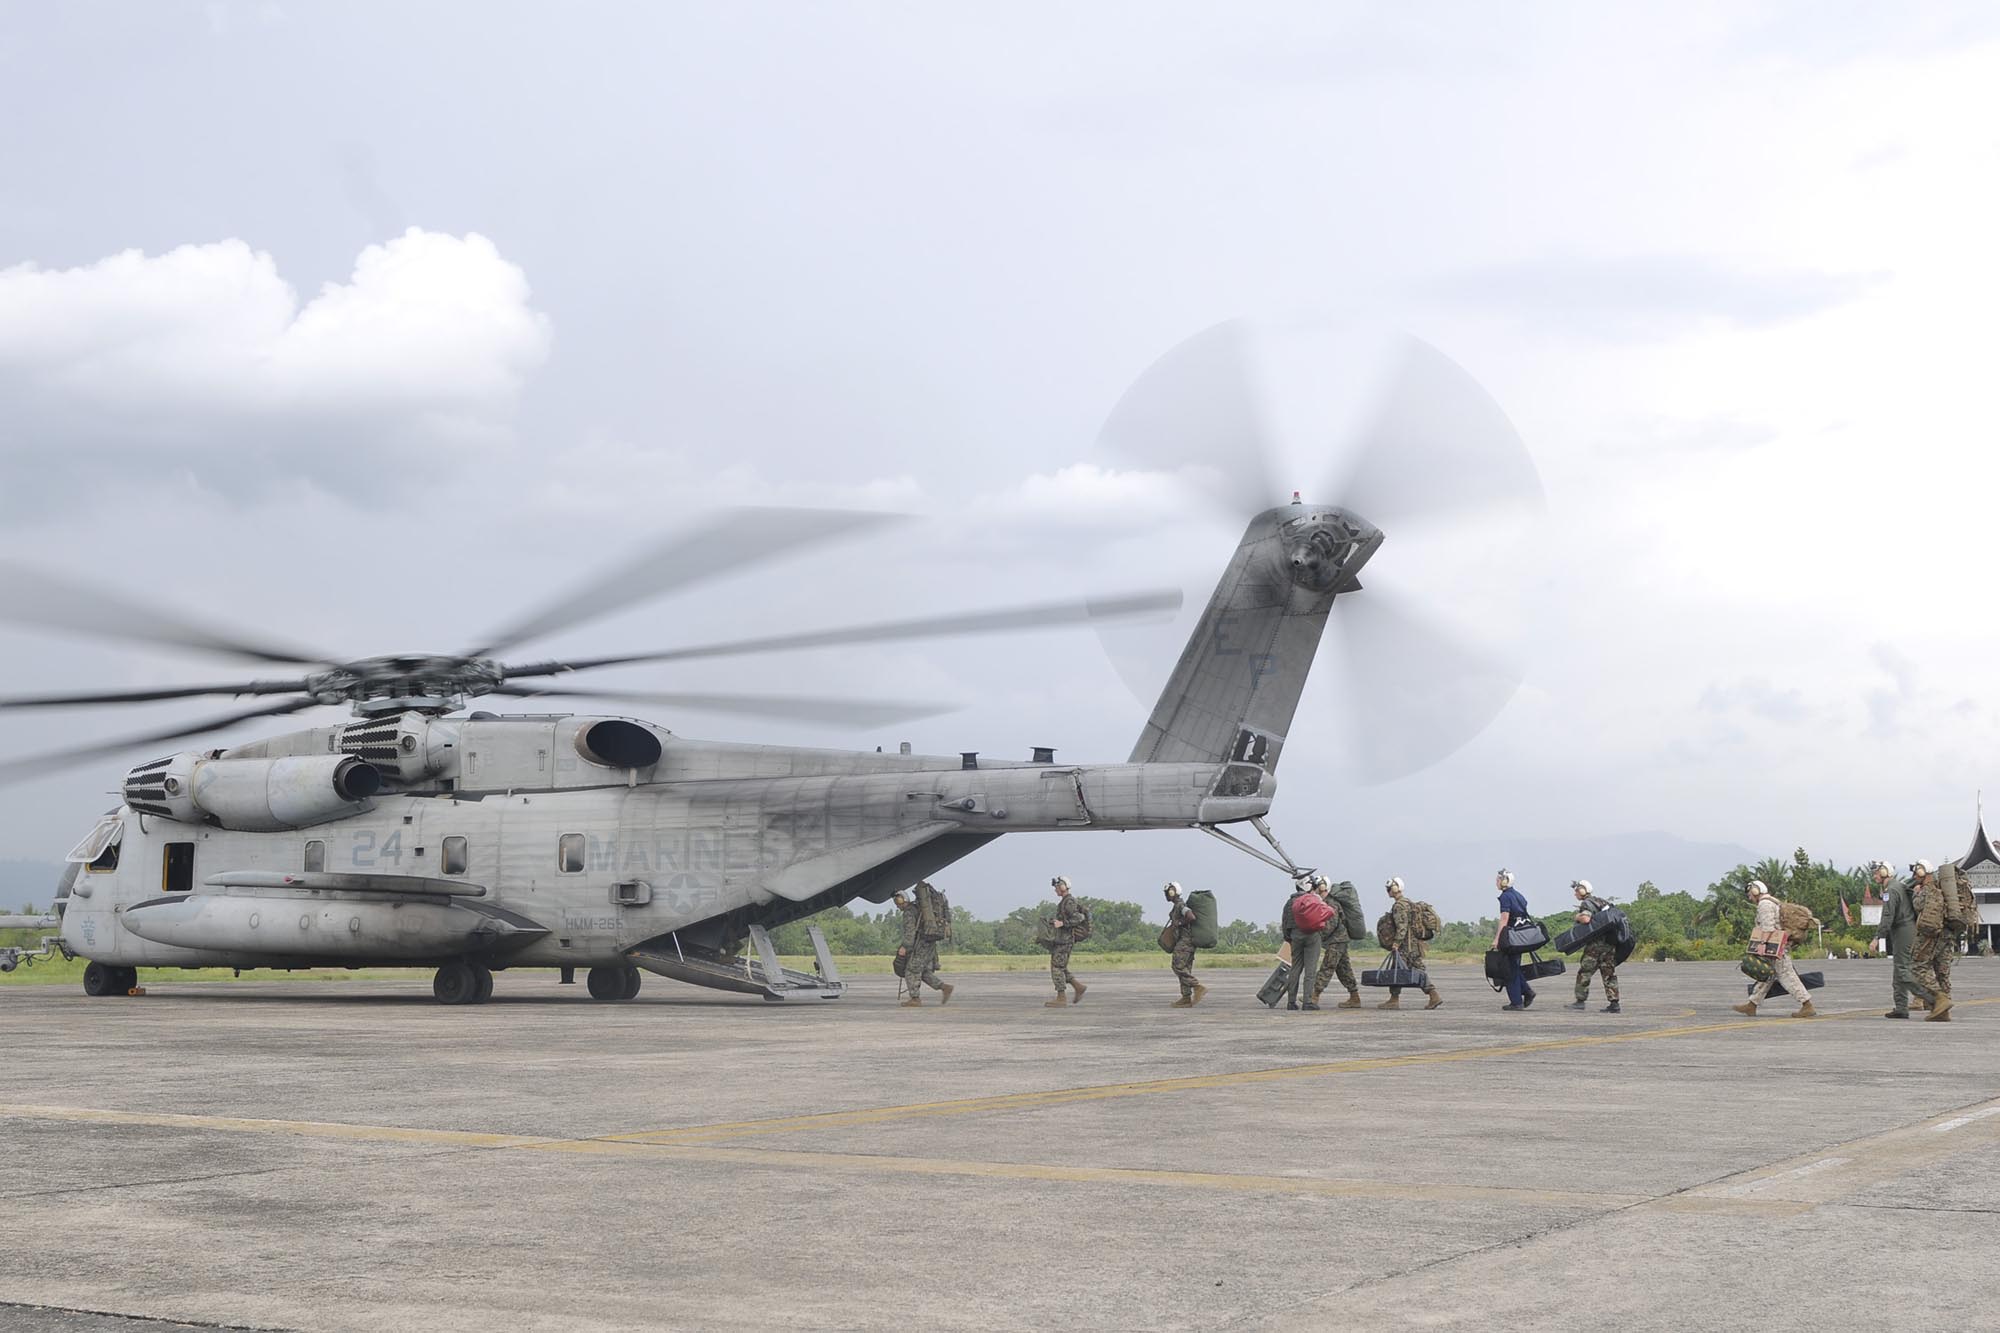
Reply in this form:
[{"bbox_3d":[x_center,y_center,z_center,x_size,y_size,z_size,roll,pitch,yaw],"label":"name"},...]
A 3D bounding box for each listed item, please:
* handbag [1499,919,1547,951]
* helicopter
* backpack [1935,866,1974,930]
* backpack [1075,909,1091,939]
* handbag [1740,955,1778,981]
[{"bbox_3d":[8.806,4.507,29.492,0.774,0.494,0.337,2,-13,-1],"label":"handbag"},{"bbox_3d":[-7.170,1.708,32.166,24.152,9.127,7.747,-1,-13,12],"label":"helicopter"},{"bbox_3d":[13.695,3.299,25.139,0.375,0.943,0.630,-4,-14,25],"label":"backpack"},{"bbox_3d":[1.399,4.485,30.467,0.194,0.438,0.322,4,-13,-6],"label":"backpack"},{"bbox_3d":[11.183,4.496,26.019,0.595,0.196,0.408,1,8,31],"label":"handbag"}]
